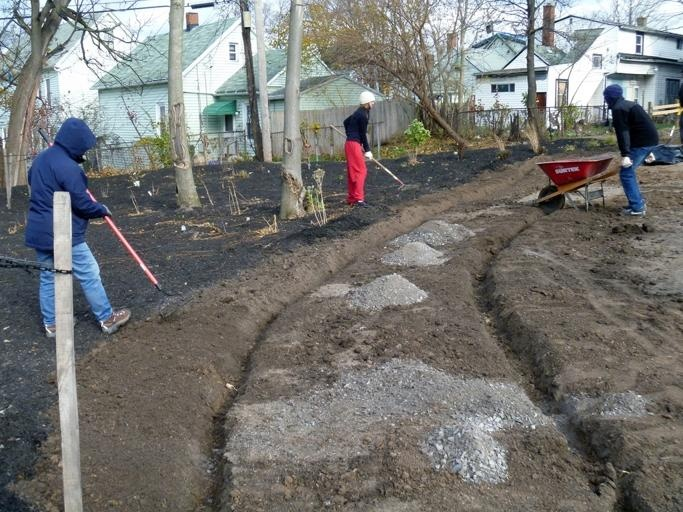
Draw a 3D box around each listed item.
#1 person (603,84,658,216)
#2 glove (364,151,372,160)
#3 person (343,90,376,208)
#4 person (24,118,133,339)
[{"bbox_3d":[5.113,-1.889,10.319,0.842,2.285,0.595,-17,18,-28],"label":"person"},{"bbox_3d":[0.553,-1.999,11.575,0.214,0.106,0.293,-1,26,-4],"label":"glove"},{"bbox_3d":[0.332,-2.105,11.496,0.704,2.126,0.583,-21,20,-39],"label":"person"},{"bbox_3d":[-3.120,-0.274,6.797,0.957,2.566,0.520,-14,17,-20],"label":"person"}]
